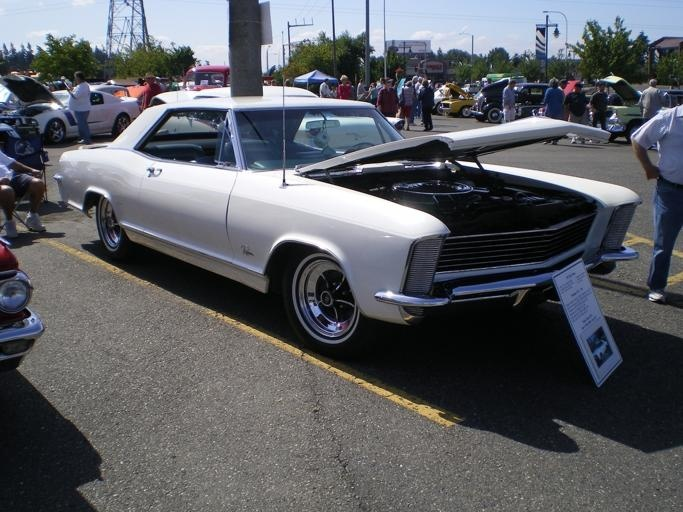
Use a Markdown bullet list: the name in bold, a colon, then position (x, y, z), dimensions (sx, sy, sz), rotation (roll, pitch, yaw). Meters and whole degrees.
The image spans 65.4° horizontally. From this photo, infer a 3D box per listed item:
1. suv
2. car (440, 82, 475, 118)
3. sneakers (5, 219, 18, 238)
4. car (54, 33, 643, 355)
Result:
- **suv**: position (8.095, -7.248, 25.203), dimensions (3.312, 1.471, 1.907), rotation (-5, 22, -3)
- **car**: position (6.300, -8.617, 29.598), dimensions (2.306, 1.325, 1.450), rotation (-16, 30, -23)
- **sneakers**: position (-4.373, -0.371, 7.008), dimensions (0.156, 0.243, 0.271), rotation (-12, 21, -32)
- **car**: position (-0.110, -0.504, 4.818), dimensions (4.725, 1.788, 2.079), rotation (14, 23, 36)
